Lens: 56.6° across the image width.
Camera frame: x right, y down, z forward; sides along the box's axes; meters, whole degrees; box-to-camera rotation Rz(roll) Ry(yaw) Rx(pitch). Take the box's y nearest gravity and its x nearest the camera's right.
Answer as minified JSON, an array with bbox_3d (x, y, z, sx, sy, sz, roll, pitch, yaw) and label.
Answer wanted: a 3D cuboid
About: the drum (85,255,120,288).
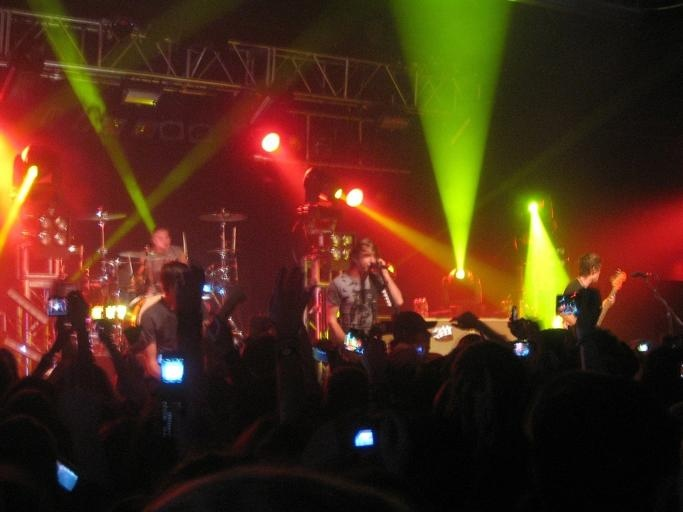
[{"bbox_3d":[-4.337,0.305,11.555,0.487,0.307,0.275,-8,-2,-21],"label":"drum"}]

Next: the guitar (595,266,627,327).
[{"bbox_3d":[4.146,0.650,9.716,0.219,0.994,0.244,28,-21,-15],"label":"guitar"}]

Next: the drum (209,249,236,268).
[{"bbox_3d":[-2.288,0.067,12.301,0.432,0.525,0.475,2,-1,16],"label":"drum"}]

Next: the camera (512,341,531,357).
[{"bbox_3d":[1.703,0.881,5.978,0.150,0.203,0.273,-3,-12,8],"label":"camera"}]

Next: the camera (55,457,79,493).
[{"bbox_3d":[-1.812,1.440,4.218,0.192,0.174,0.050,-51,-6,32],"label":"camera"}]
